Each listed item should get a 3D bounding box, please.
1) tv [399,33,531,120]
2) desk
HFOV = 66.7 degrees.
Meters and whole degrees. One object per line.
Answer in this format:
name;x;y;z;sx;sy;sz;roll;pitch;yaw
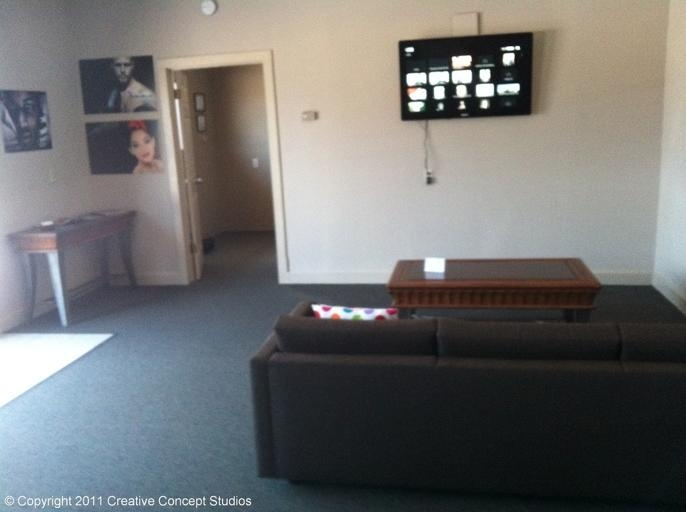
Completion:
tv;1.321;-1.921;5.442;1.003;0.570;0.074;1;16;11
desk;-2.990;0.105;5.661;0.423;0.695;1.169;5;17;8
